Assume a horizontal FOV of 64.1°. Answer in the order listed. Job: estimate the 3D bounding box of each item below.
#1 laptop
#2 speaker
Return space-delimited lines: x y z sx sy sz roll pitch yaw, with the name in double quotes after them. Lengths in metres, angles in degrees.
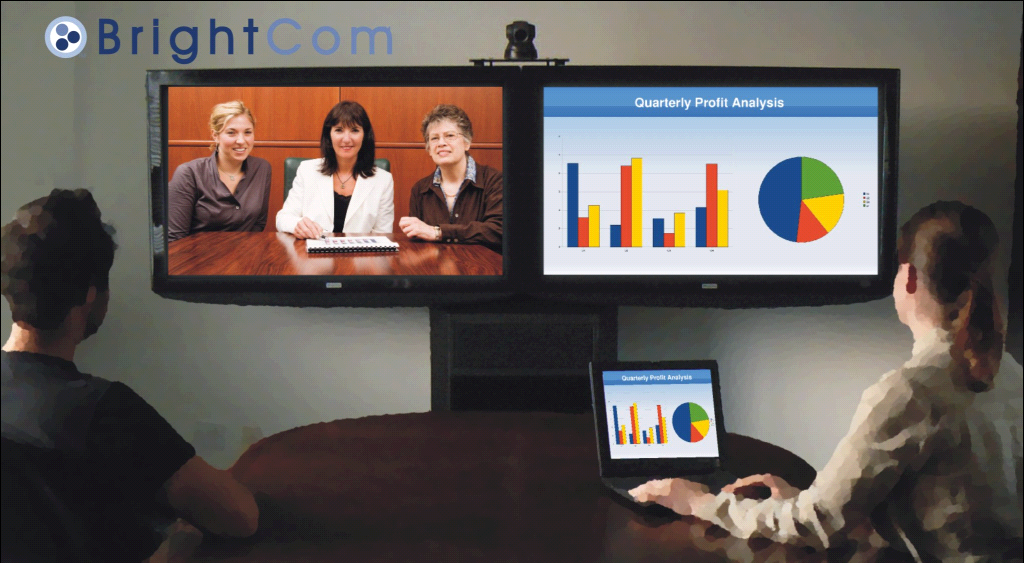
0.546 0.502 3.051 0.626 0.543 0.445 -1 4 -8 "laptop"
0.117 0.355 3.511 0.902 0.515 0.493 -1 -6 21 "speaker"
